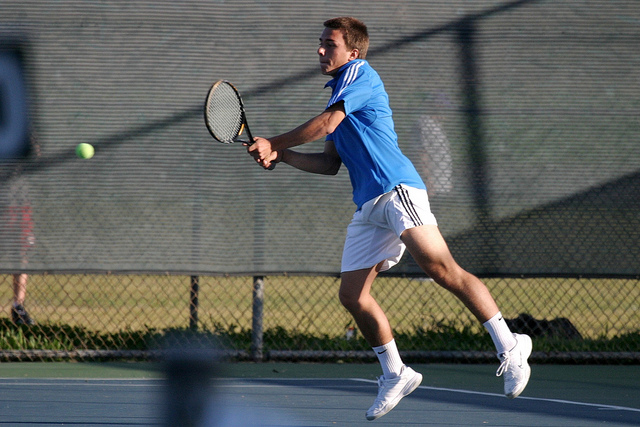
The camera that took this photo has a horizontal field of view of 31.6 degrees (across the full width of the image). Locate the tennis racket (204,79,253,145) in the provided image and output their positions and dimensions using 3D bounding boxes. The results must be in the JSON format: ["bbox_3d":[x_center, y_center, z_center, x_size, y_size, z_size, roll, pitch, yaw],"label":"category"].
[{"bbox_3d":[-0.559,-0.713,8.120,0.757,0.427,0.059,14,12,43],"label":"tennis racket"}]

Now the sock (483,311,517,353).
[{"bbox_3d":[1.280,0.838,7.939,0.268,0.326,0.174,0,-4,6],"label":"sock"}]

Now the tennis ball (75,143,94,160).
[{"bbox_3d":[-1.912,-0.509,9.135,0.158,0.135,0.053,-4,-8,4],"label":"tennis ball"}]
